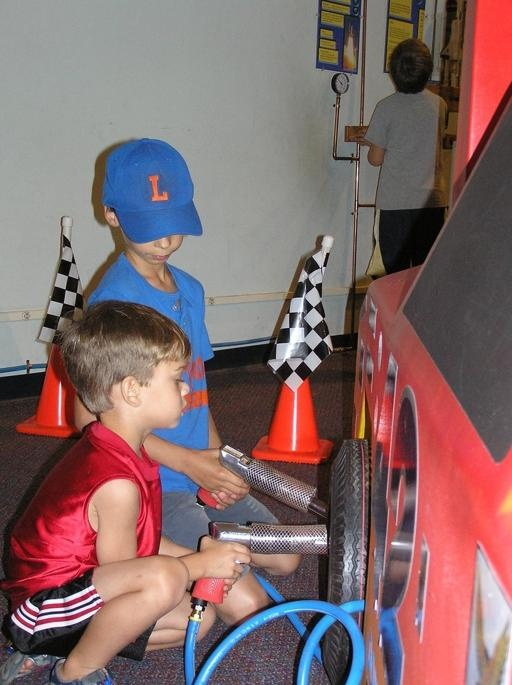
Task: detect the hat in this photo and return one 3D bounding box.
[{"bbox_3d":[-0.231,-0.343,1.224,0.162,0.142,0.267,-13,48,-23],"label":"hat"}]

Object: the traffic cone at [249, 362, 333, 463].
[{"bbox_3d":[0.129,0.216,2.223,0.294,0.453,0.278,1,24,3],"label":"traffic cone"}]
